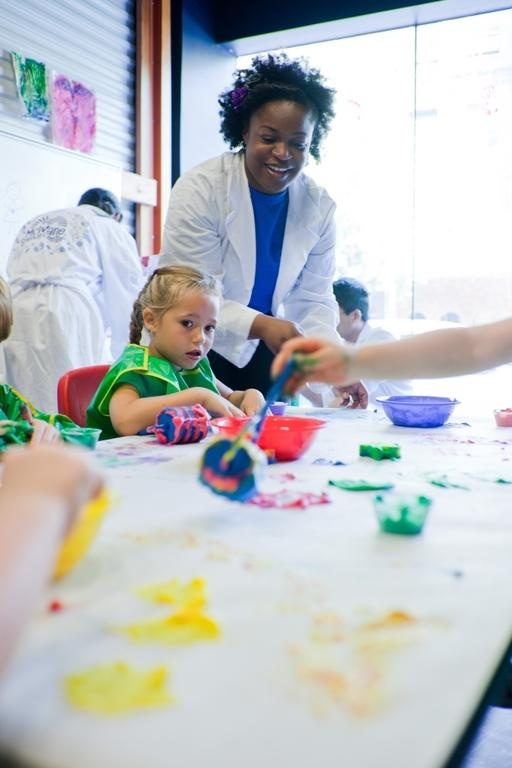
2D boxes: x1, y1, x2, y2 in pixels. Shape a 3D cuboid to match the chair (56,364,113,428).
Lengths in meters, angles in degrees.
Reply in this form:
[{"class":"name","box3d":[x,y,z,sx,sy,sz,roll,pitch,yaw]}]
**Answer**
[{"class":"chair","box3d":[-0.417,0.018,1.453,0.137,0.162,0.130,9,12,32]}]
